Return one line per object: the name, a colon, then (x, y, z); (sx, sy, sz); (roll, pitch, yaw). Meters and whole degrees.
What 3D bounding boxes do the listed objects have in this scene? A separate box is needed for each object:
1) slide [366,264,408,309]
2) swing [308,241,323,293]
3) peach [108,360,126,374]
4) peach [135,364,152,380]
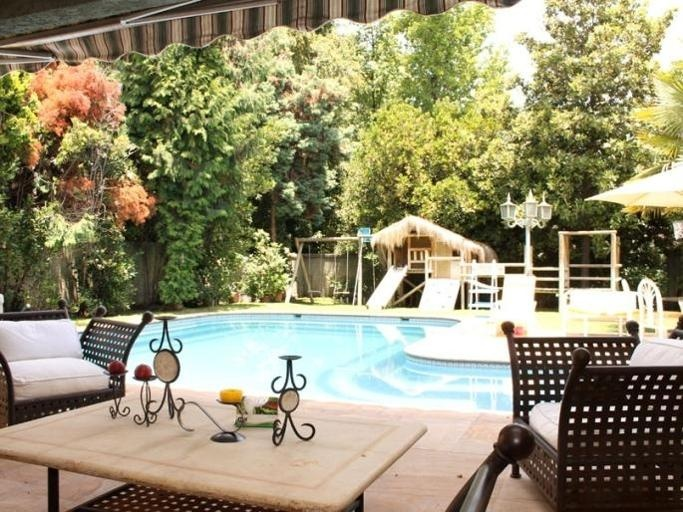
slide: (1.284, 0.889, 17.357); (0.552, 0.226, 2.035); (-9, 35, 30)
swing: (-0.848, 0.624, 21.168); (0.479, 1.376, 0.384); (1, 1, -16)
peach: (-1.462, 0.735, 4.261); (0.109, 0.111, 0.109); (6, -2, -33)
peach: (-1.233, 0.725, 4.070); (0.095, 0.099, 0.099); (-4, 12, -4)
